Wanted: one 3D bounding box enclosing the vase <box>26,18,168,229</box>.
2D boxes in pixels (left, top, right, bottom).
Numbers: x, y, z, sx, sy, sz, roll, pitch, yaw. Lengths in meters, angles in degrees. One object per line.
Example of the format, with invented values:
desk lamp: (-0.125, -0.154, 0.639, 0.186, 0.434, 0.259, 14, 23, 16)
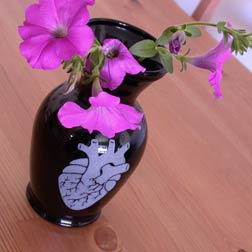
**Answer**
vase: (-0.060, 0.009, 0.454, 0.149, 0.275, 0.152, 25, 34, 7)
